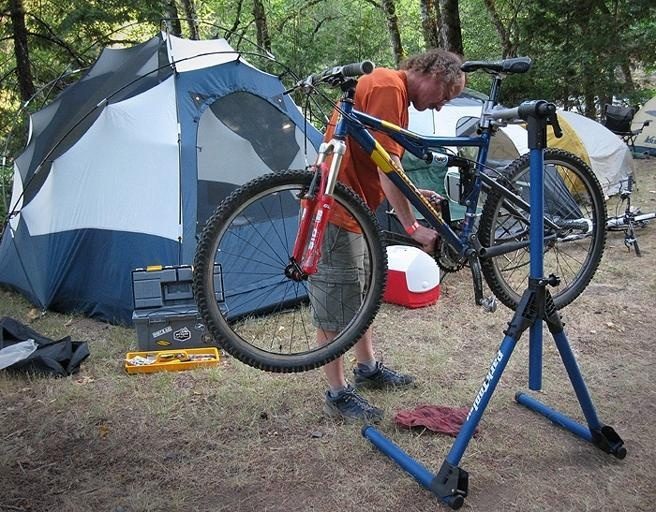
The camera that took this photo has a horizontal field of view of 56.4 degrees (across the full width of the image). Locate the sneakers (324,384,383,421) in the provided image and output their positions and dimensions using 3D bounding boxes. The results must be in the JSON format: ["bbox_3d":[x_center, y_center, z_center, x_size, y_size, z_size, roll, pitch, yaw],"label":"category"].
[{"bbox_3d":[0.157,0.949,4.031,0.393,0.221,0.164,11,13,15],"label":"sneakers"}]

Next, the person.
[{"bbox_3d":[0.326,-0.111,3.936,0.990,2.302,0.516,-8,8,-21],"label":"person"}]
